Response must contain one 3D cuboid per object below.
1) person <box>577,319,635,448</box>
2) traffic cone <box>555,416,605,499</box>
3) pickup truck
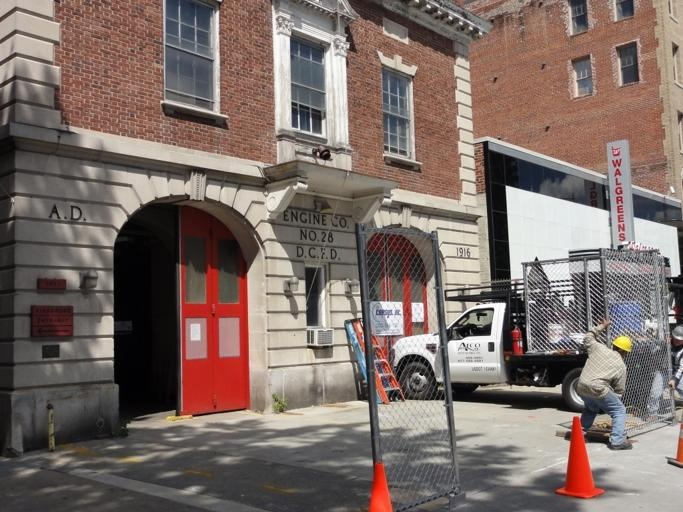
[{"bbox_3d":[4.789,2.290,13.464,0.945,2.179,1.071,9,-1,-34],"label":"person"},{"bbox_3d":[3.507,2.904,11.132,0.622,1.124,0.683,-2,-2,37],"label":"traffic cone"},{"bbox_3d":[4.063,1.895,17.292,6.788,3.173,2.585,-5,-6,42],"label":"pickup truck"}]
